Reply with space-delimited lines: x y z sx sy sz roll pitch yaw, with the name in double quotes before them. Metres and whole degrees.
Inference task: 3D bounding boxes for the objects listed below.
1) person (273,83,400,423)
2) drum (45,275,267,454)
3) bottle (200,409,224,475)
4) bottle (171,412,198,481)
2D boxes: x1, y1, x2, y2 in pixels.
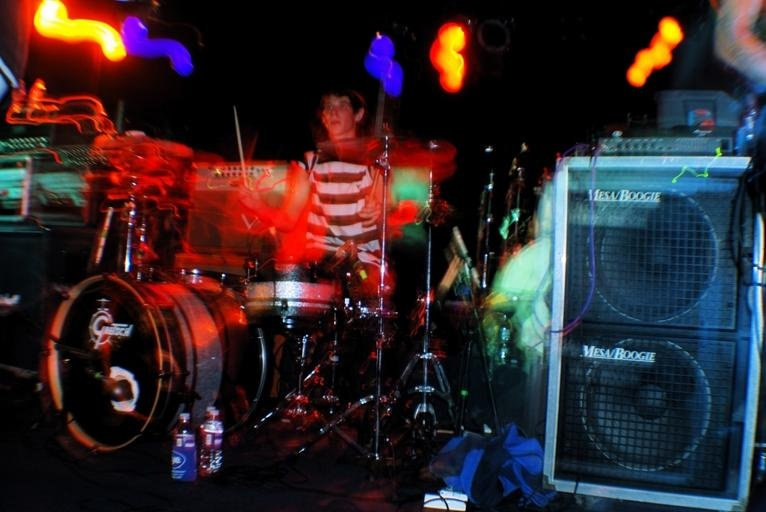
"person" -0.501 -0.168 6.162 1.114 2.627 0.893 5 30 6
"drum" -1.833 0.875 5.551 1.685 1.382 1.713 5 -8 -24
"bottle" -1.279 1.367 5.055 0.171 0.494 0.211 4 -1 -9
"bottle" -1.442 1.367 4.974 0.187 0.492 0.281 4 -1 -15
